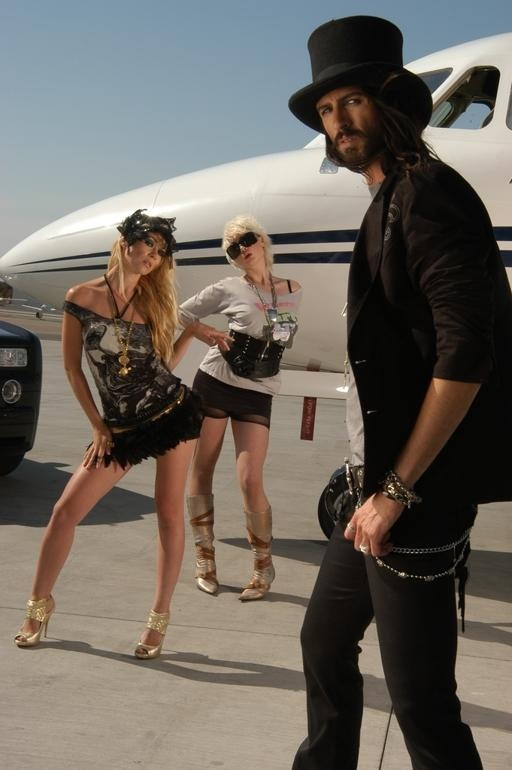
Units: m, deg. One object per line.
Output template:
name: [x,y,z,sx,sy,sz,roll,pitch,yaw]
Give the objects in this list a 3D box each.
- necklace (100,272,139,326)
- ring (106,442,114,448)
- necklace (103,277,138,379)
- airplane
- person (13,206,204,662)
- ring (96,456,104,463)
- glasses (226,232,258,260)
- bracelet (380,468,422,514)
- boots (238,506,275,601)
necklace: [-0.574,-0.375,2.894,0.158,0.175,0.046,1,-34,-32]
ring: [-0.601,0.248,2.809,0.023,0.021,0.025,-2,-11,0]
necklace: [-0.577,-0.221,2.875,0.117,0.374,0.095,5,3,-17]
airplane: [0.289,-0.767,6.017,4.376,2.625,3.978,-4,-6,2]
person: [-0.596,0.183,2.925,0.699,1.896,0.442,5,3,-14]
ring: [-0.638,0.306,2.784,0.019,0.045,0.022,10,6,34]
glasses: [-0.073,-0.771,3.742,0.154,0.060,0.149,-28,4,12]
bracelet: [0.266,0.198,1.261,0.080,0.043,0.057,27,7,-29]
boots: [0.017,0.925,3.766,0.185,0.457,0.376,5,3,0]
